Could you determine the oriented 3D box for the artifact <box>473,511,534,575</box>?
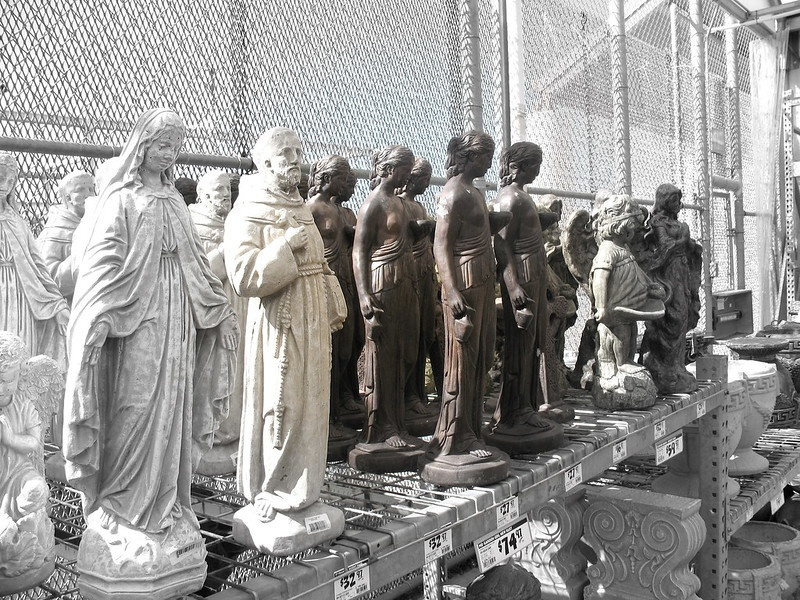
[{"bbox_3d":[0.541,1.254,6.175,0.036,0.176,0.426,5,16,43],"label":"artifact"}]

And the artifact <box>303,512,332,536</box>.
[{"bbox_3d":[-0.388,1.067,5.679,0.111,0.081,0.030,1,-32,-38],"label":"artifact"}]
